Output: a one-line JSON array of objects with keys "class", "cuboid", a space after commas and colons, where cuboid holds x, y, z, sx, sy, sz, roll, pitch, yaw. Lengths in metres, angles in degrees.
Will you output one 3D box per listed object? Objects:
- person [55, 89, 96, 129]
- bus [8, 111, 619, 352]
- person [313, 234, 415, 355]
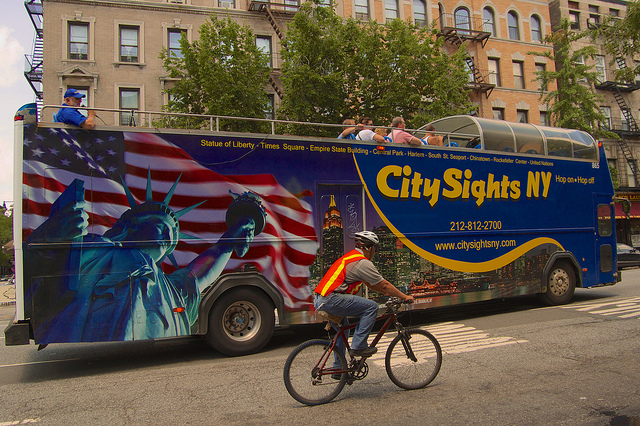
[{"class": "person", "cuboid": [-5.843, -2.466, 15.005, 0.882, 0.901, 0.786, -5, 13, -13]}, {"class": "bus", "cuboid": [-0.014, 0.446, 16.658, 15.053, 5.902, 2.429, -5, 13, -13]}, {"class": "person", "cuboid": [0.731, 1.735, 13.294, 1.576, 2.455, 0.883, -7, 13, -20]}]
